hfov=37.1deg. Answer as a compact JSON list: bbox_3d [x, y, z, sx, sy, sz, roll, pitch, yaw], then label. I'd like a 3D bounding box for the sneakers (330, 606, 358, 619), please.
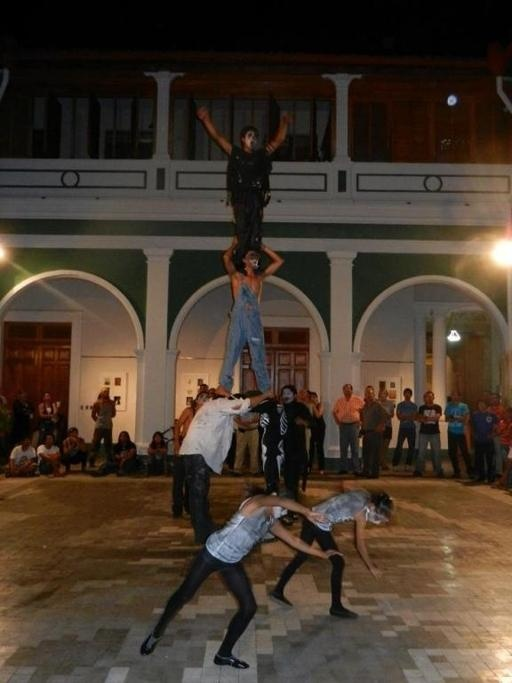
[{"bbox_3d":[0.617,1.929,5.438,0.200,0.106,0.076,-2,-2,0],"label":"sneakers"}]

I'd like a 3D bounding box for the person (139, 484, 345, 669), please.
[{"bbox_3d":[-0.140,1.465,4.733,1.100,1.066,0.521,-1,-6,19],"label":"person"}]

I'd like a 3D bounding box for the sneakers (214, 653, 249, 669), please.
[{"bbox_3d":[-0.147,1.958,4.682,0.225,0.104,0.093,3,-28,1],"label":"sneakers"}]

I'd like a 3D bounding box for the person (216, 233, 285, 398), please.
[{"bbox_3d":[-0.059,-0.246,7.449,0.575,1.700,0.297,3,-25,-5],"label":"person"}]

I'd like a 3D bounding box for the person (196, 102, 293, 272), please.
[{"bbox_3d":[-0.127,-1.479,7.704,0.876,1.955,0.279,3,-22,-9],"label":"person"}]
